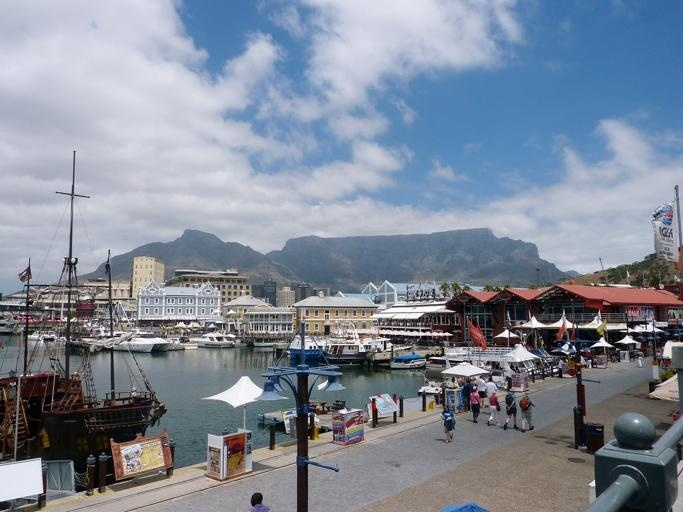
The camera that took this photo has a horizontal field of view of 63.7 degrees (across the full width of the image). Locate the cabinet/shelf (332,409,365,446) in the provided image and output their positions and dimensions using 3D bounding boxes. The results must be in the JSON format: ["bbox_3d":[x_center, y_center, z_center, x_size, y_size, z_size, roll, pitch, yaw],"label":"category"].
[{"bbox_3d":[0.333,8.736,27.595,1.028,1.622,1.732,-9,-12,42],"label":"cabinet/shelf"}]

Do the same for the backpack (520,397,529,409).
[{"bbox_3d":[9.548,7.676,28.659,0.470,0.573,0.642,3,13,23],"label":"backpack"}]

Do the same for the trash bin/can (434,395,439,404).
[{"bbox_3d":[6.613,9.995,37.989,0.327,0.589,0.187,-6,-8,8],"label":"trash bin/can"}]
